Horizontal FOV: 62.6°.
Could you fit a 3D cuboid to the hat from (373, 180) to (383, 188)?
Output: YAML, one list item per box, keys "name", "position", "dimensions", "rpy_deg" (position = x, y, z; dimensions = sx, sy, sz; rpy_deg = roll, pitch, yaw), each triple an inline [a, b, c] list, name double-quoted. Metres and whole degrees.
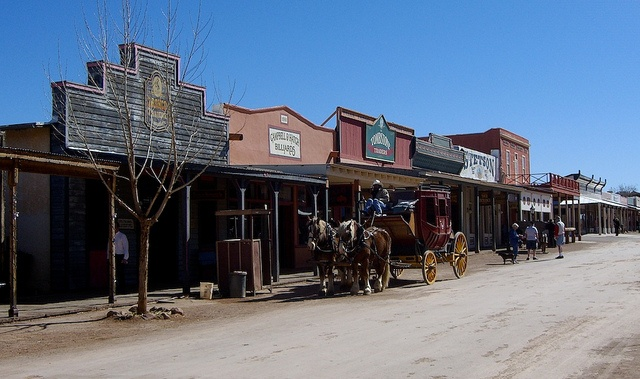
- name: "hat"
  position: [2.278, -0.285, 21.372]
  dimensions: [0.366, 0.283, 0.524]
  rpy_deg: [0, -9, 19]

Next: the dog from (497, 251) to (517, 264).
- name: "dog"
  position: [10.481, 3.772, 29.458]
  dimensions: [0.856, 0.681, 2.502]
  rpy_deg: [-1, 0, 19]

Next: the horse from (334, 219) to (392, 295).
- name: "horse"
  position: [1.751, 2.567, 19.999]
  dimensions: [1.022, 2.721, 3.990]
  rpy_deg: [-2, -6, 32]

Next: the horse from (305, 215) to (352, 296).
- name: "horse"
  position: [0.374, 2.453, 19.622]
  dimensions: [1.350, 2.926, 2.492]
  rpy_deg: [-1, 0, 10]

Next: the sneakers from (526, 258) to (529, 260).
- name: "sneakers"
  position: [12.170, 4.049, 30.999]
  dimensions: [0.098, 0.190, 0.184]
  rpy_deg: [4, 0, 31]

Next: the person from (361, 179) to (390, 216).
- name: "person"
  position: [2.206, 0.339, 20.965]
  dimensions: [0.719, 1.380, 1.082]
  rpy_deg: [-1, 1, 34]

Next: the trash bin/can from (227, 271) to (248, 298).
- name: "trash bin/can"
  position: [-3.102, 3.505, 19.828]
  dimensions: [0.654, 0.993, 0.711]
  rpy_deg: [-4, 7, -44]
